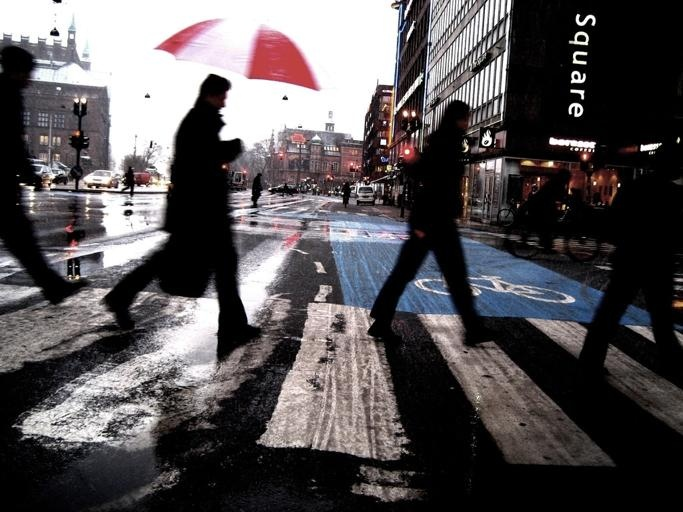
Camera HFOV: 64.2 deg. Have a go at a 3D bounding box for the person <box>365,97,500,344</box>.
[{"bbox_3d":[0.910,-0.349,5.321,1.130,2.340,0.563,4,9,5],"label":"person"}]
